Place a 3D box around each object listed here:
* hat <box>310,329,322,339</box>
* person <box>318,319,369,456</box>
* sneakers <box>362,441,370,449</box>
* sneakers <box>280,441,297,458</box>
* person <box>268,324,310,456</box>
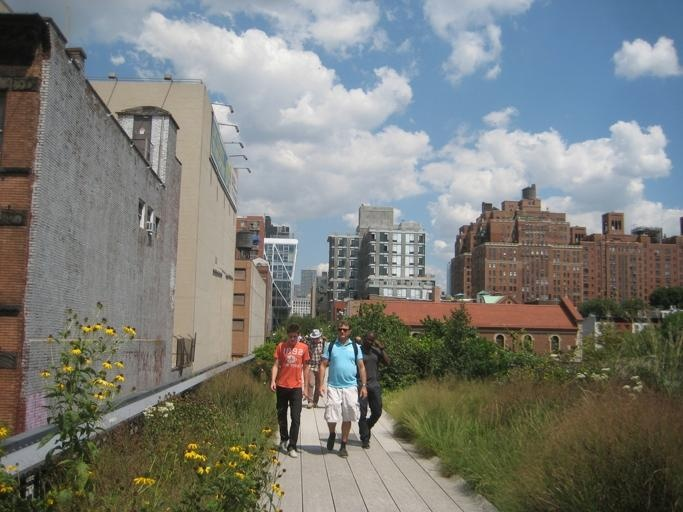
[{"bbox_3d":[-0.695,2.151,16.476,0.302,0.140,0.347,-9,31,-4],"label":"hat"},{"bbox_3d":[0.014,2.482,11.263,0.987,2.514,1.120,11,1,4],"label":"person"},{"bbox_3d":[0.480,3.634,11.455,0.115,0.068,0.176,3,-4,2],"label":"sneakers"},{"bbox_3d":[-0.969,3.520,10.846,0.141,0.321,0.428,2,-12,-38],"label":"sneakers"},{"bbox_3d":[-0.960,2.416,11.024,0.734,2.365,0.876,10,1,-2],"label":"person"}]
